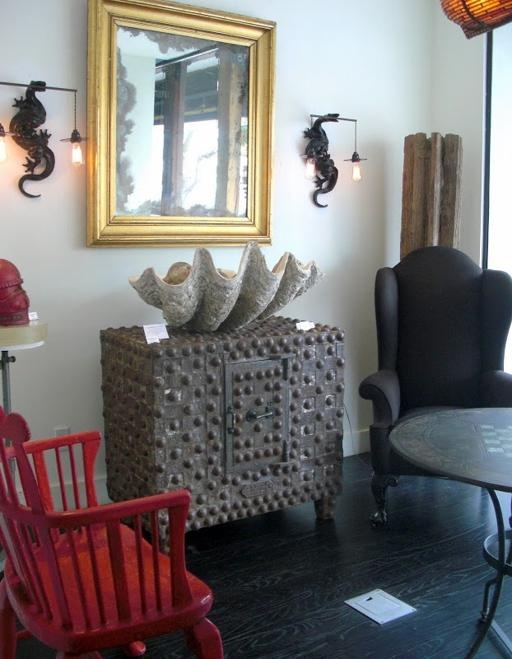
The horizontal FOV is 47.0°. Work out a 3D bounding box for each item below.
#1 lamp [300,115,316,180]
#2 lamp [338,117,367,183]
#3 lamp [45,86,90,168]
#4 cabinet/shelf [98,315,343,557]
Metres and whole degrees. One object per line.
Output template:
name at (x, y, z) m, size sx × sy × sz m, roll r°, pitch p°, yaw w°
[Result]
lamp at (0.285, -0.954, 3.093) m, size 0.057 × 0.338 × 0.088 m, roll 3°, pitch 6°, yaw 43°
lamp at (0.496, -0.968, 3.177) m, size 0.209 × 0.321 × 0.121 m, roll -7°, pitch 16°, yaw -14°
lamp at (-0.761, -0.813, 2.354) m, size 0.131 × 0.320 × 0.142 m, roll -3°, pitch 5°, yaw -13°
cabinet/shelf at (-0.189, 0.415, 2.452) m, size 0.995 × 0.812 × 0.592 m, roll -1°, pitch 3°, yaw -38°
